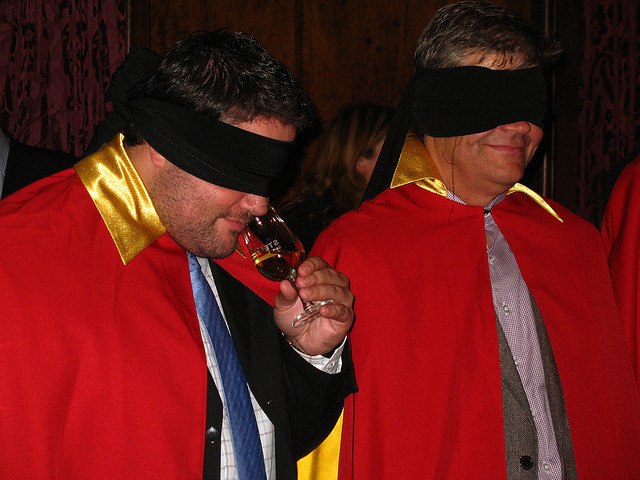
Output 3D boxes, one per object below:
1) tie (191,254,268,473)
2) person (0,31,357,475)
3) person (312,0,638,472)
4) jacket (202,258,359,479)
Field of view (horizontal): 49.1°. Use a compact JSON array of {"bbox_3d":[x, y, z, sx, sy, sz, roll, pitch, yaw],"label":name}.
[{"bbox_3d":[-0.268,0.464,2.186,0.129,0.844,0.036,2,-21,-33],"label":"tie"},{"bbox_3d":[-0.406,0.051,2.204,1.099,1.435,0.397,2,0,-22],"label":"person"},{"bbox_3d":[0.576,-0.035,2.537,1.151,1.619,0.471,2,0,-2],"label":"person"},{"bbox_3d":[-0.166,0.496,2.397,0.554,0.246,0.710,1,-32,-24],"label":"jacket"}]
